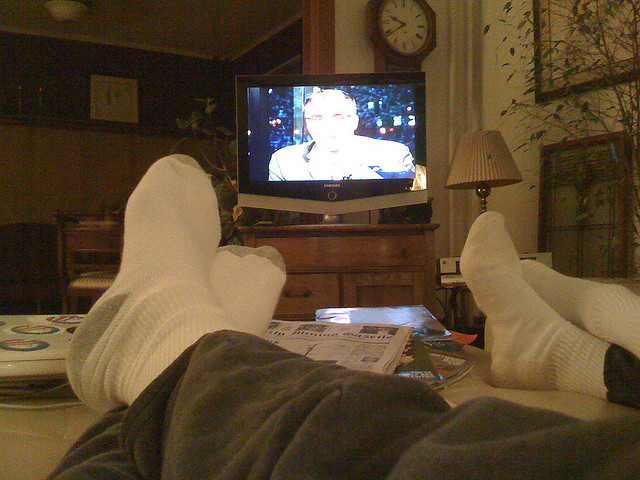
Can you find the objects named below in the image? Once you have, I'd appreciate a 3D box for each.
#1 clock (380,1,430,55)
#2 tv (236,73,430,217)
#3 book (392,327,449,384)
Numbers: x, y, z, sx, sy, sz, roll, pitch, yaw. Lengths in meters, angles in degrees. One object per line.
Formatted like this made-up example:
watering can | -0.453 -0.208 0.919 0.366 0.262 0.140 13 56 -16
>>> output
clock | 0.388 -0.990 2.732 0.367 0.256 0.045 -1 -2 -21
tv | 0.045 -0.377 2.333 0.963 0.555 0.039 7 14 37
book | 0.152 0.188 0.887 0.067 0.002 0.152 0 8 -1
